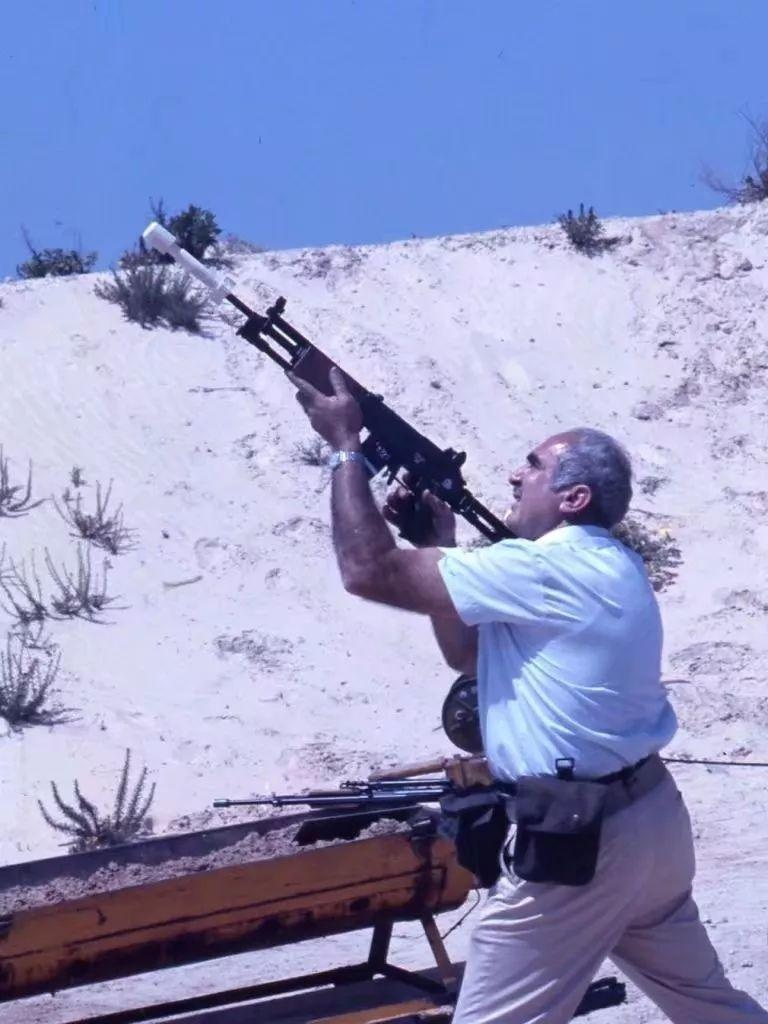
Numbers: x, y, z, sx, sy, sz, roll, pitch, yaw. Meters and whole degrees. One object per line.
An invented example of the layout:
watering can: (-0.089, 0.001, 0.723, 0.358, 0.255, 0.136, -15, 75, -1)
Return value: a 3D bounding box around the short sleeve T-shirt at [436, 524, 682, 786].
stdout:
short sleeve T-shirt: (0.586, 0.523, 5.903, 0.879, 0.849, 0.864, 1, -7, 26)
